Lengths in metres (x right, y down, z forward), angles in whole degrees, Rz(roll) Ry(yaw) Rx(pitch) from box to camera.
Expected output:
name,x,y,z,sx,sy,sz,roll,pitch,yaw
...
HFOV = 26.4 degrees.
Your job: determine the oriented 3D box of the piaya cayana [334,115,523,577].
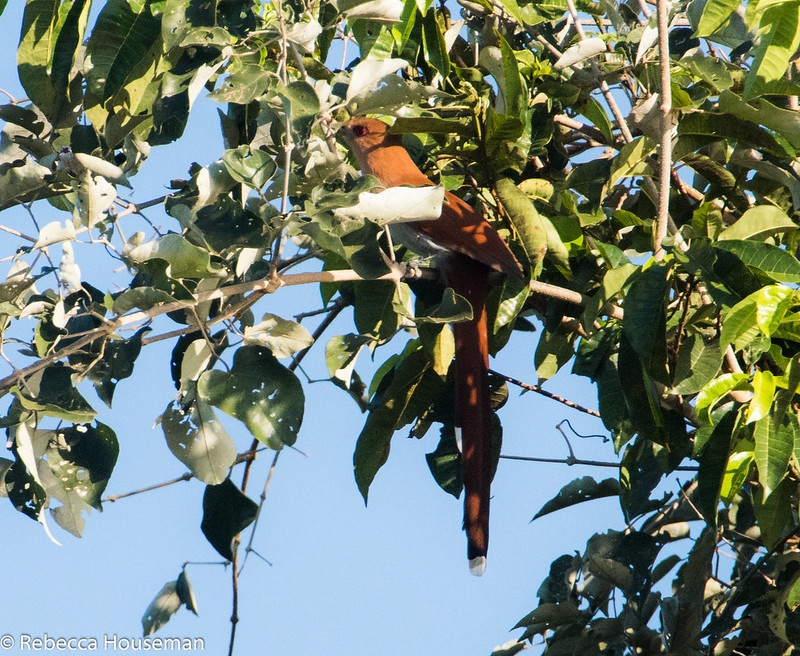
name,x,y,z,sx,sy,sz,roll,pitch,yaw
piaya cayana,0.165,0.033,5.004,0.465,1.264,0.867,-19,-43,25
